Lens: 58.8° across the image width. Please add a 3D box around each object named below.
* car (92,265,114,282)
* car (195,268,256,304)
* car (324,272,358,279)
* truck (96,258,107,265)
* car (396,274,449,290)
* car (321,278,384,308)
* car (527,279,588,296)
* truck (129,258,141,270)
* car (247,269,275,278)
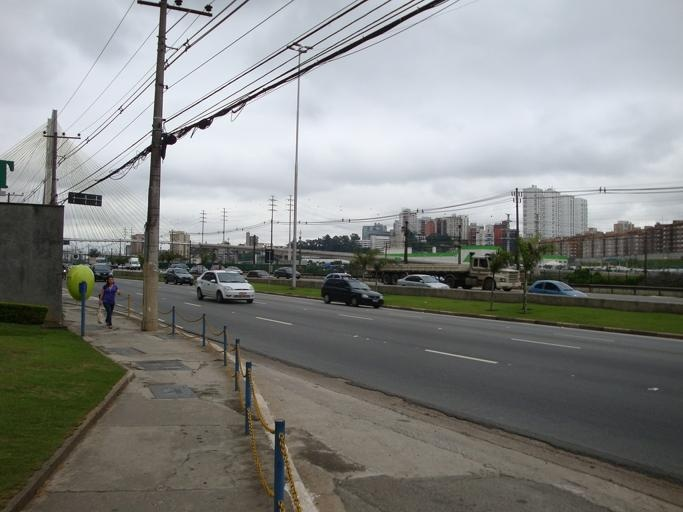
[{"bbox_3d":[-18.513,1.349,46.577,1.288,1.326,2.599,1,-5,-34],"label":"car"},{"bbox_3d":[-6.577,1.741,34.157,1.689,1.297,3.136,3,-5,-33],"label":"car"},{"bbox_3d":[-0.231,1.948,51.292,2.181,0.795,1.055,-4,1,9],"label":"car"},{"bbox_3d":[-32.007,0.768,80.329,1.100,1.410,3.703,0,-3,-27],"label":"truck"},{"bbox_3d":[5.894,1.946,44.265,1.390,1.112,3.242,0,-4,-40],"label":"car"},{"bbox_3d":[0.773,2.172,34.560,1.487,1.251,3.230,4,-6,-35],"label":"car"},{"bbox_3d":[12.548,1.949,35.439,1.382,0.988,2.766,1,-6,-28],"label":"car"},{"bbox_3d":[-34.529,1.424,100.719,1.862,2.548,4.948,-1,-4,-25],"label":"truck"},{"bbox_3d":[-8.953,2.079,65.303,3.288,1.187,1.453,-3,-1,33],"label":"car"}]
